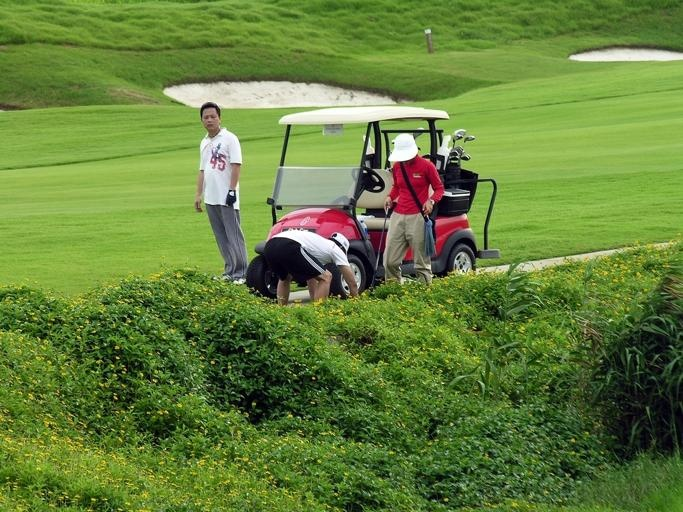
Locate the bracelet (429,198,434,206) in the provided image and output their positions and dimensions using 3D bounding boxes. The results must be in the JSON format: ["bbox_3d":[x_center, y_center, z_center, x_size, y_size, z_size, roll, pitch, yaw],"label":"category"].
[{"bbox_3d":[1.377,-0.830,16.251,0.066,0.087,0.098,7,17,21],"label":"bracelet"}]

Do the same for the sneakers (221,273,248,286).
[{"bbox_3d":[-1.692,0.362,16.426,0.163,0.211,0.470,1,-9,12],"label":"sneakers"}]

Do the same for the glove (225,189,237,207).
[{"bbox_3d":[-1.704,-0.902,16.632,0.199,0.271,0.112,-6,16,-25],"label":"glove"}]

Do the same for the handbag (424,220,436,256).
[{"bbox_3d":[1.369,-0.273,16.311,0.170,0.582,0.293,-2,15,-13],"label":"handbag"}]

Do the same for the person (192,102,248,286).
[{"bbox_3d":[-1.860,-1.000,16.788,0.641,2.722,1.206,-6,16,-24],"label":"person"}]

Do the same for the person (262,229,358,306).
[{"bbox_3d":[-0.410,0.150,15.228,1.020,1.079,1.269,12,19,41],"label":"person"}]

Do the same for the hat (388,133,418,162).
[{"bbox_3d":[0.964,-1.644,16.411,0.426,0.453,0.535,2,14,3],"label":"hat"}]
